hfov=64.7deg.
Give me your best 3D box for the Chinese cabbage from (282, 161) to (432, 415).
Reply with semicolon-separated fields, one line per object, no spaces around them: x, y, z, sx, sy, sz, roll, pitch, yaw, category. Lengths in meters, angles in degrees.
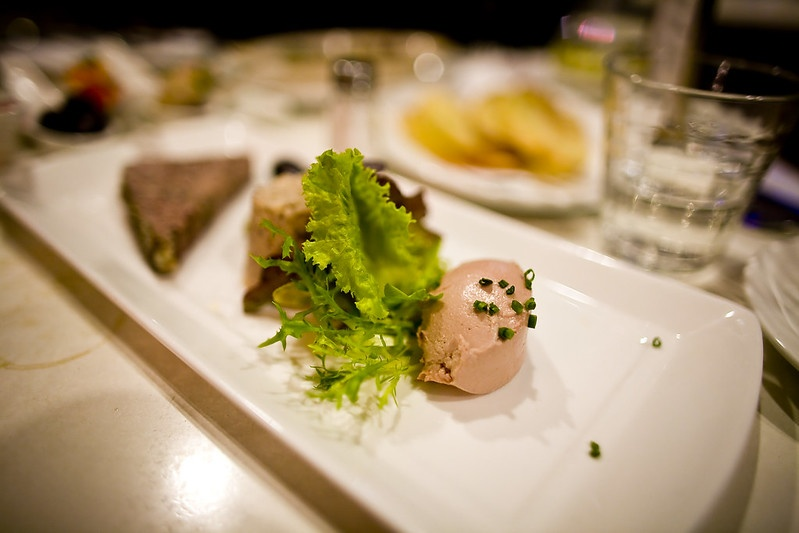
-0.078;0.023;1.750;0.427;0.659;0.276;2;11;-1;Chinese cabbage
